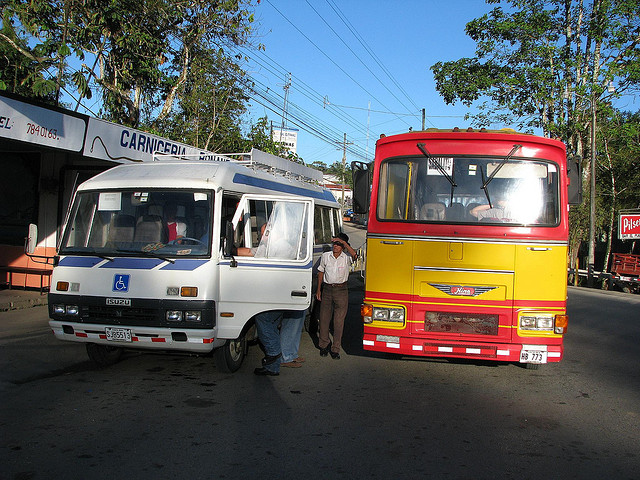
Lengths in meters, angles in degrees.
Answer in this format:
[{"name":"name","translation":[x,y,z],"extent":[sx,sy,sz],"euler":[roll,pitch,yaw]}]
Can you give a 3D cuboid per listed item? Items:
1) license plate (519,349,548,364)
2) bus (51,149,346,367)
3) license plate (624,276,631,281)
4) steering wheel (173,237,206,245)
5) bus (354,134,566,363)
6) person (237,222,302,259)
[{"name":"license plate","translation":[3.060,1.689,6.488],"extent":[0.388,0.220,0.186],"euler":[2,0,5]},{"name":"bus","translation":[-1.923,0.070,7.663],"extent":[3.557,3.176,3.545],"euler":[2,1,-2]},{"name":"license plate","translation":[15.959,2.044,23.238],"extent":[0.108,0.229,0.427],"euler":[2,1,-14]},{"name":"steering wheel","translation":[-1.835,0.016,6.276],"extent":[0.475,0.095,0.090],"euler":[3,1,19]},{"name":"bus","translation":[2.546,-0.242,9.545],"extent":[3.296,3.571,6.047],"euler":[2,8,6]},{"name":"person","translation":[-0.830,0.134,6.805],"extent":[0.927,0.338,0.889],"euler":[12,9,-44]}]
